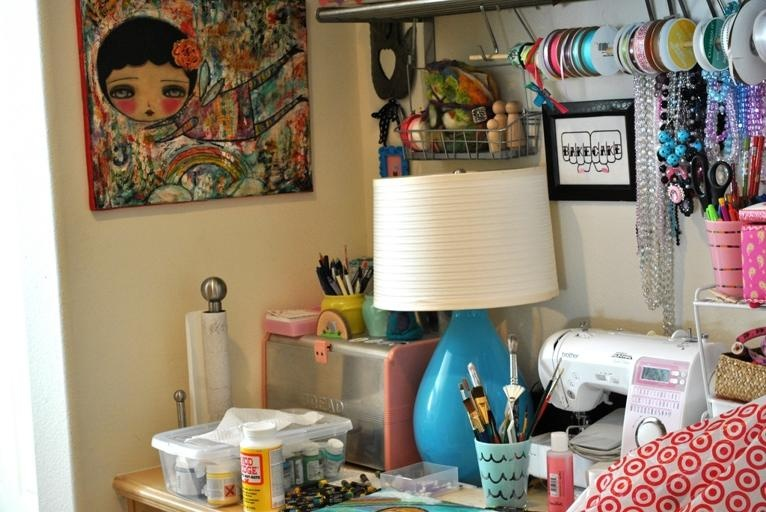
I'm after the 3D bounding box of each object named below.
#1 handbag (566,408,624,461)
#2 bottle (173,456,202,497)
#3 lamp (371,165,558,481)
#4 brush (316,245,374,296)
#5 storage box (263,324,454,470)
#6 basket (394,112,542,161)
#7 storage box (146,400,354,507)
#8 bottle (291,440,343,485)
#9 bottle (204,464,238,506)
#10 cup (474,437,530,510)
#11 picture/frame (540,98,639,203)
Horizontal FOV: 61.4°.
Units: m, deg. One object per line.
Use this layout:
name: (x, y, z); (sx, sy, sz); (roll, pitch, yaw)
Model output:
handbag: (0.603, 0.496, 1.801); (0.129, 0.061, 0.256); (-4, 6, 24)
bottle: (-0.545, 0.615, 1.807); (0.102, 0.124, 0.030); (-4, 6, 24)
lamp: (0.261, 0.184, 1.986); (0.531, 0.860, 0.525); (1, 4, 28)
brush: (-0.128, 0.042, 2.250); (0.147, 0.188, 0.177); (0, 1, 31)
storage box: (-0.108, 0.469, 2.230); (0.577, 0.389, 0.352); (2, 2, 34)
basket: (0.268, -0.395, 2.137); (0.487, 0.176, 0.163); (-3, 6, 34)
storage box: (-0.351, 0.497, 1.838); (0.398, 0.148, 0.282); (-3, 3, -36)
bottle: (-0.188, 0.575, 1.873); (0.156, 0.158, 0.087); (-1, 5, -35)
bottle: (-0.436, 0.623, 1.752); (0.099, 0.114, 0.102); (0, 0, -20)
cup: (0.307, 0.550, 1.717); (0.154, 0.180, 0.155); (0, 2, 0)
picture/frame: (0.637, -0.327, 1.955); (0.327, 0.350, 0.038); (1, 6, 38)
